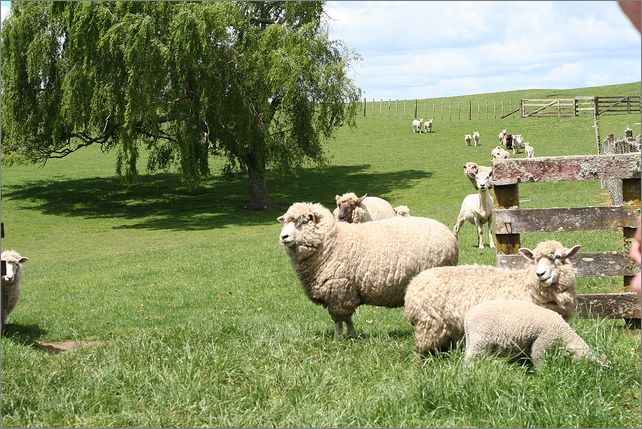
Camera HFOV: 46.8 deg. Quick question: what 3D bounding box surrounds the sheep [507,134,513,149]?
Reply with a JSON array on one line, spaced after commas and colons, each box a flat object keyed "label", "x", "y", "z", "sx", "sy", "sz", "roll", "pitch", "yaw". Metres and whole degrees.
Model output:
[{"label": "sheep", "x": 12.197, "y": -4.801, "z": 47.855, "sx": 0.312, "sy": 0.970, "sz": 0.529, "roll": -4, "pitch": -5, "yaw": 32}]
